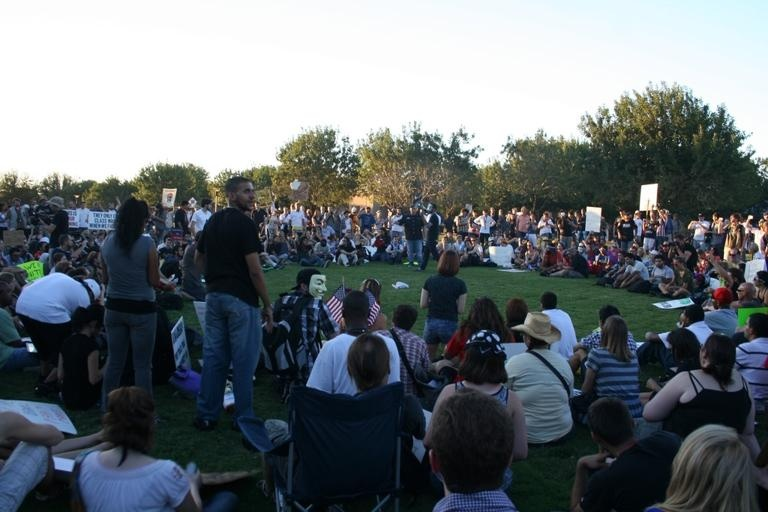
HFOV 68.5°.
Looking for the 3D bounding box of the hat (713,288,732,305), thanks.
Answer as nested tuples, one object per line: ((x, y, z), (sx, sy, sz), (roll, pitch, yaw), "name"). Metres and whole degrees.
((5.271, 0.632, 8.748), (0.235, 0.300, 0.241), (3, 1, 30), "hat")

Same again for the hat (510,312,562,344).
((1.770, 0.831, 6.439), (0.370, 0.364, 0.635), (3, 0, 35), "hat")

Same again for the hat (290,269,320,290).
((-0.933, 0.273, 6.914), (0.207, 0.168, 0.316), (-4, 22, 20), "hat")

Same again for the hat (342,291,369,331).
((-0.291, 0.611, 5.750), (0.273, 0.541, 0.358), (0, -3, -7), "hat")

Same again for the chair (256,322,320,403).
((-1.163, 1.226, 6.794), (0.632, 0.925, 0.623), (-9, -13, 28), "chair")

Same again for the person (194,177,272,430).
((-1.568, 0.505, 5.975), (0.824, 2.256, 0.496), (3, 1, 31), "person")
